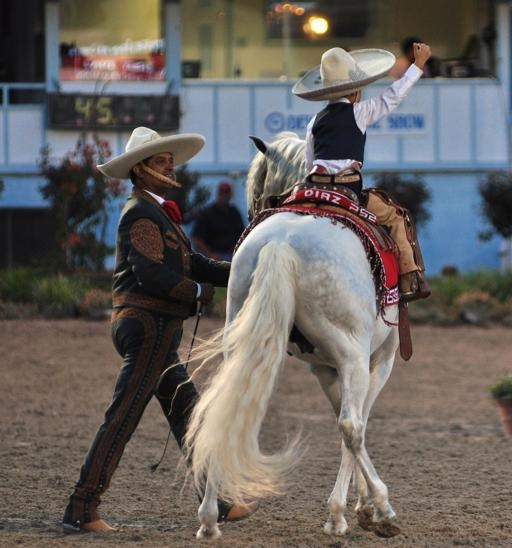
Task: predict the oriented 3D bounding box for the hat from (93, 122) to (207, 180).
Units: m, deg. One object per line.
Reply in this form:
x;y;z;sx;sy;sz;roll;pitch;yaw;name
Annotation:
-0.640;-0.825;10.931;0.500;0.206;0.420;-16;-16;-46;hat

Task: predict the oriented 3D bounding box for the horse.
0.279;0.502;10.965;1.424;2.345;1.211;1;10;-2;horse

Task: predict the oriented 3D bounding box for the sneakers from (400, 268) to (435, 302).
1.085;0.085;10.827;0.174;0.331;0.223;-4;-8;39;sneakers
